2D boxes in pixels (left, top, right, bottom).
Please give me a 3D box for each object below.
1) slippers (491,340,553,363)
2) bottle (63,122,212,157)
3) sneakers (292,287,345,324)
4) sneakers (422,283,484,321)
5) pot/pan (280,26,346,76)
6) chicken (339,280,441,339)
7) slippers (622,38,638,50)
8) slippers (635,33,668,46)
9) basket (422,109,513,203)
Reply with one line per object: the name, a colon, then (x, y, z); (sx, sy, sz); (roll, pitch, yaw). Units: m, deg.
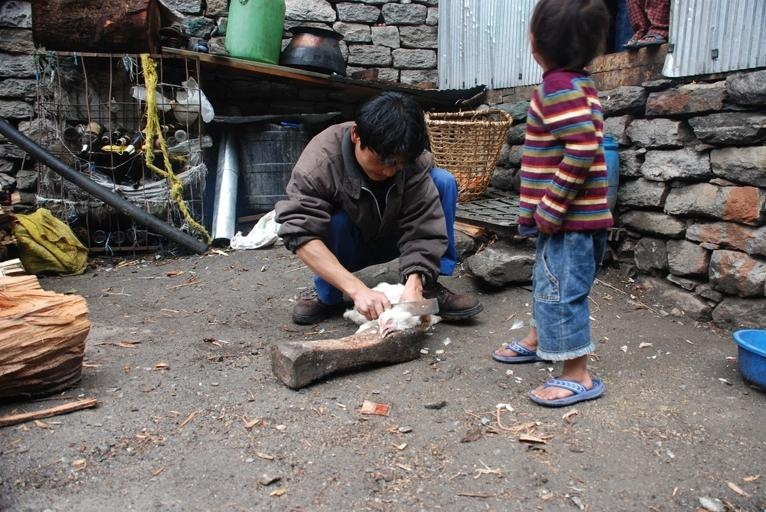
slippers: (0.902, 0.612, 3.562); (0.345, 0.091, 0.128); (2, 4, -2)
bottle: (-2.478, -1.160, 5.549); (1.299, 0.331, 0.405); (-3, 19, -3)
sneakers: (-0.458, 0.365, 4.081); (0.461, 0.250, 0.193); (-1, 14, -26)
sneakers: (0.504, 0.330, 3.984); (0.518, 0.227, 0.202); (0, 25, 6)
pot/pan: (-0.771, -2.283, 6.381); (0.734, 0.523, 0.690); (0, 13, -5)
chicken: (0.092, 0.385, 3.607); (0.611, 0.361, 0.319); (-7, 48, 6)
slippers: (2.047, -1.726, 4.558); (0.097, 0.068, 0.173); (13, 36, 38)
slippers: (2.105, -1.682, 4.325); (0.169, 0.059, 0.088); (-3, 6, -27)
basket: (0.795, -1.022, 5.650); (0.994, 0.881, 0.891); (-4, 15, -20)
